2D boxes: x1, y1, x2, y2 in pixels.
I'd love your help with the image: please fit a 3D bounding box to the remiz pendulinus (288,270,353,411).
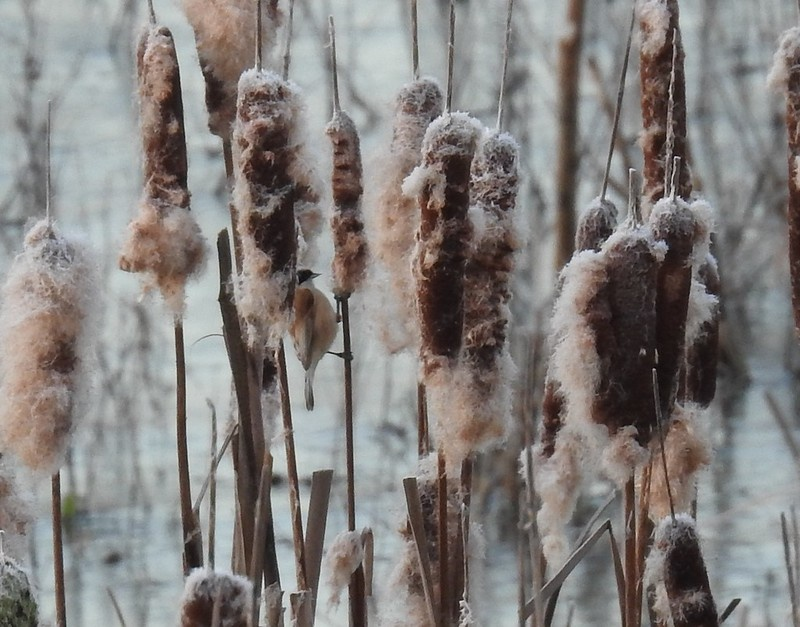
[{"bbox_3d":[-0.335,0.012,8.303,0.202,0.617,0.531,-1,-24,-3],"label":"remiz pendulinus"}]
